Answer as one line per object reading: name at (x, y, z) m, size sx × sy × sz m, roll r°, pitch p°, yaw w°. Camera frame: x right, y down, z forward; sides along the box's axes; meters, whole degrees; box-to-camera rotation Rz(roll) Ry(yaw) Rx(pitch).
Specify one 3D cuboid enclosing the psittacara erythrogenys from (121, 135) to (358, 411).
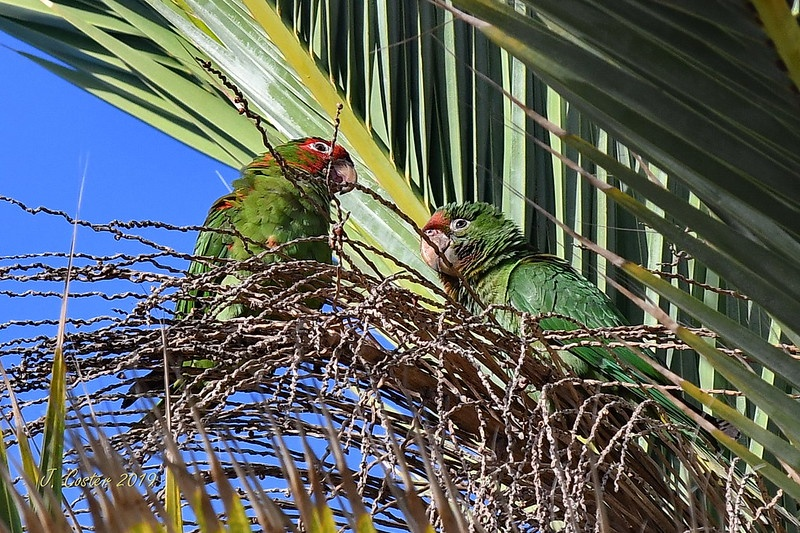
psittacara erythrogenys at (-0.425, 0.066, 2.926) m, size 0.640 × 0.807 × 0.350 m, roll -9°, pitch -29°, yaw 21°

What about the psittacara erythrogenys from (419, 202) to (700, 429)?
psittacara erythrogenys at (0.468, 0.142, 2.990) m, size 0.819 × 0.585 × 0.301 m, roll 3°, pitch -13°, yaw -20°
